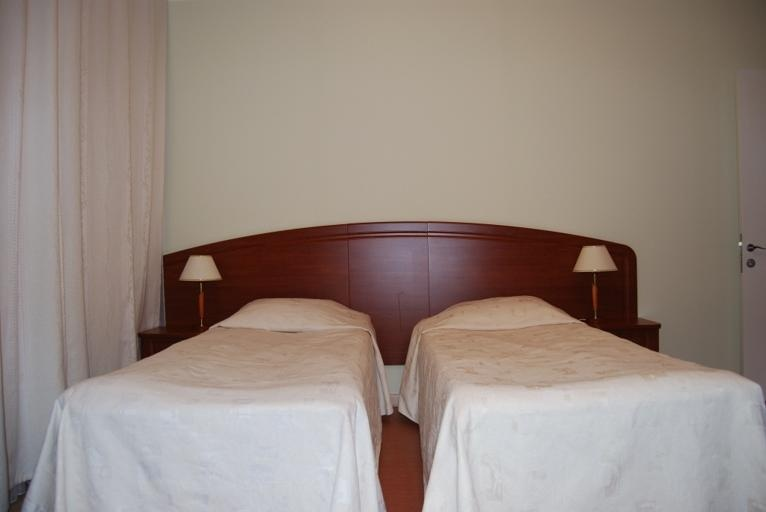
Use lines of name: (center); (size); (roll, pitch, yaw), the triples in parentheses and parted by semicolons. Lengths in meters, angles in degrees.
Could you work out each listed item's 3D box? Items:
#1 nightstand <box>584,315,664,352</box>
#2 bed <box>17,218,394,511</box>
nightstand: (1.831, 0.562, 4.318); (0.406, 0.409, 0.265); (0, 2, 2)
bed: (-0.780, 0.618, 3.753); (2.016, 1.625, 1.998); (-1, 4, 4)
